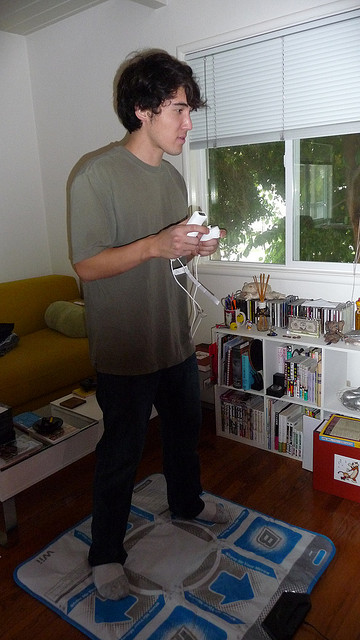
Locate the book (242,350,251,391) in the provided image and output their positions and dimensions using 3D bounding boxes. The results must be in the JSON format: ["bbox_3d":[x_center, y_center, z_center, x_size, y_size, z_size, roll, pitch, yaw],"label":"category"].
[{"bbox_3d":[0.349,0.270,2.339,0.041,0.201,0.061,-1,7,9],"label":"book"}]

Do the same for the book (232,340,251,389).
[{"bbox_3d":[0.323,0.249,2.360,0.068,0.208,0.206,1,13,14],"label":"book"}]

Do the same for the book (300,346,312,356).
[{"bbox_3d":[0.655,0.163,2.309,0.040,0.044,0.011,-6,23,24],"label":"book"}]

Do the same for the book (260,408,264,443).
[{"bbox_3d":[0.431,0.562,2.326,0.012,0.175,0.028,-8,9,-39],"label":"book"}]

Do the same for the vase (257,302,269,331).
[{"bbox_3d":[0.431,-0.018,2.320,0.058,0.144,0.049,-1,7,9],"label":"vase"}]

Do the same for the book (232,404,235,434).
[{"bbox_3d":[0.291,0.539,2.428,0.009,0.159,0.025,-3,7,-5],"label":"book"}]

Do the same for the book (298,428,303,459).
[{"bbox_3d":[0.586,0.613,2.167,0.020,0.167,0.080,-1,7,13],"label":"book"}]

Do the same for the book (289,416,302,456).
[{"bbox_3d":[0.573,0.587,2.218,0.078,0.150,0.152,3,15,23],"label":"book"}]

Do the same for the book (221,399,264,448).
[{"bbox_3d":[0.344,0.558,2.393,0.204,0.220,0.116,8,14,38],"label":"book"}]

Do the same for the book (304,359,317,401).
[{"bbox_3d":[0.622,0.297,2.131,0.045,0.156,0.156,2,10,19],"label":"book"}]

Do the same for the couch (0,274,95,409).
[{"bbox_3d":[-0.828,0.157,2.721,0.371,0.373,0.681,5,25,40],"label":"couch"}]

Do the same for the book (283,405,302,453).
[{"bbox_3d":[0.563,0.559,2.240,0.099,0.186,0.190,4,16,29],"label":"book"}]

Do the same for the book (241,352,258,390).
[{"bbox_3d":[0.360,0.272,2.349,0.061,0.193,0.072,3,9,39],"label":"book"}]

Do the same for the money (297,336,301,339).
[{"bbox_3d":[0.572,0.085,2.141,0.017,0.005,0.042,-1,9,11],"label":"money"}]

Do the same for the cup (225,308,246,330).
[{"bbox_3d":[0.292,-0.003,2.420,0.104,0.104,0.084,-1,5,-19],"label":"cup"}]

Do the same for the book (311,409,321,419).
[{"bbox_3d":[0.668,0.459,2.190,0.012,0.045,0.032,17,10,-10],"label":"book"}]

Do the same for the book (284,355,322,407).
[{"bbox_3d":[0.592,0.293,2.160,0.156,0.220,0.189,-1,8,8],"label":"book"}]

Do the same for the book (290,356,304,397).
[{"bbox_3d":[0.570,0.282,2.172,0.041,0.121,0.130,5,40,8],"label":"book"}]

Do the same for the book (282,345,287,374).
[{"bbox_3d":[0.531,0.197,2.274,0.015,0.156,0.113,2,10,16],"label":"book"}]

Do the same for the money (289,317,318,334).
[{"bbox_3d":[0.599,0.030,2.163,0.138,0.069,0.020,3,9,35],"label":"money"}]

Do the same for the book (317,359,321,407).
[{"bbox_3d":[0.653,0.297,2.088,0.012,0.227,0.028,-6,7,-27],"label":"book"}]

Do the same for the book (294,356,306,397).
[{"bbox_3d":[0.581,0.284,2.162,0.065,0.122,0.128,3,39,8],"label":"book"}]

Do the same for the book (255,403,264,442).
[{"bbox_3d":[0.416,0.548,2.342,0.070,0.141,0.146,4,17,9],"label":"book"}]

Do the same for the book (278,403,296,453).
[{"bbox_3d":[0.540,0.558,2.252,0.029,0.229,0.201,8,-8,14],"label":"book"}]

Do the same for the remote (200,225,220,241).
[{"bbox_3d":[0.073,-0.206,1.121,0.047,0.017,0.035,-39,10,25],"label":"remote"}]
